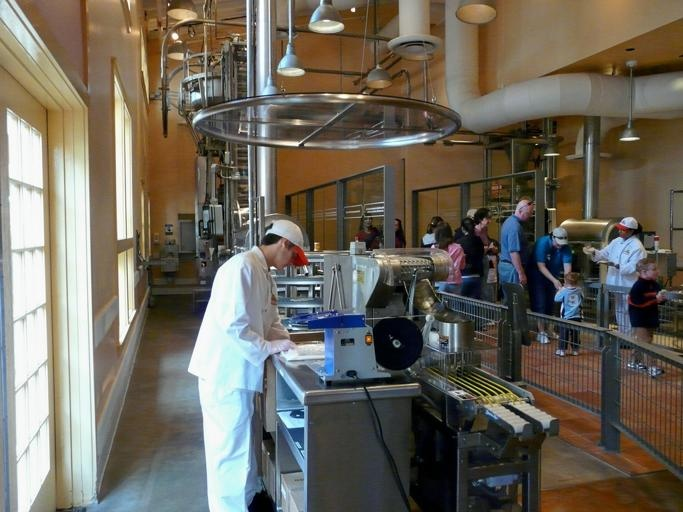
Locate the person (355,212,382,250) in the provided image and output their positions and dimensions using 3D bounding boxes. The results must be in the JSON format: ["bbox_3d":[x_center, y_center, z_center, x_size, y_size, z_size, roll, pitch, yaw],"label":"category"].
[{"bbox_3d":[0.337,-0.336,8.505,0.204,0.438,0.927,-1,5,-10],"label":"person"}]

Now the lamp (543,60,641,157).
[{"bbox_3d":[3.880,-2.097,9.472,0.855,1.213,1.878,1,5,21],"label":"lamp"}]

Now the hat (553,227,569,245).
[{"bbox_3d":[2.671,-0.223,7.779,0.224,0.209,0.175,-3,5,-29],"label":"hat"}]

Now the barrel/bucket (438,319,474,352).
[{"bbox_3d":[0.665,0.465,3.731,0.173,0.140,0.183,1,1,0],"label":"barrel/bucket"}]
